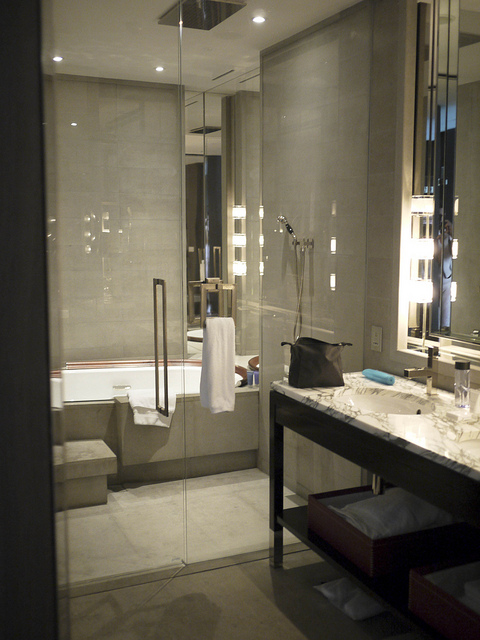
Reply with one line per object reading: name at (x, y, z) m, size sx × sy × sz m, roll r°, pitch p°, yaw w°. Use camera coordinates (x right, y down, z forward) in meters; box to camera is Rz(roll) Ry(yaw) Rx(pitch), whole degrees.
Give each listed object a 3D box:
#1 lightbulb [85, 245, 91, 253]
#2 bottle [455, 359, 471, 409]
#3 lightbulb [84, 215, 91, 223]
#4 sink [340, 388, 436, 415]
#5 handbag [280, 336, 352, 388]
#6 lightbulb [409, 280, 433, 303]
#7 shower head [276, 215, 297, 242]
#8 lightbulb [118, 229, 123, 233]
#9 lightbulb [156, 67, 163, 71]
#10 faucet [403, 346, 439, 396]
lightbulb at (-0.617, -0.287, 2.172) m, size 0.022 × 0.046 × 0.023 m, roll 9°, pitch 12°, yaw 35°
bottle at (0.759, 0.221, 1.833) m, size 0.049 × 0.166 × 0.054 m, roll 3°, pitch 6°, yaw 23°
lightbulb at (-0.615, -0.408, 2.155) m, size 0.019 × 0.024 × 0.021 m, roll -2°, pitch 9°, yaw -14°
sink at (0.581, 0.331, 2.082) m, size 0.373 × 0.083 × 0.181 m, roll 5°, pitch 8°, yaw 33°
handbag at (0.337, 0.182, 2.257) m, size 0.259 × 0.204 × 0.158 m, roll -1°, pitch 0°, yaw -4°
lightbulb at (0.764, -0.123, 2.291) m, size 0.033 × 0.094 × 0.137 m, roll -1°, pitch 7°, yaw -15°
shower head at (0.233, -0.484, 2.751) m, size 0.038 × 0.169 × 0.056 m, roll -22°, pitch -12°, yaw -44°
lightbulb at (-0.500, -0.370, 2.230) m, size 0.017 × 0.019 × 0.009 m, roll 0°, pitch 16°, yaw -8°
lightbulb at (-0.334, -1.035, 2.208) m, size 0.027 × 0.014 × 0.005 m, roll -3°, pitch 7°, yaw -28°
faucet at (0.695, 0.205, 2.061) m, size 0.130 × 0.186 × 0.039 m, roll -5°, pitch 11°, yaw -14°
